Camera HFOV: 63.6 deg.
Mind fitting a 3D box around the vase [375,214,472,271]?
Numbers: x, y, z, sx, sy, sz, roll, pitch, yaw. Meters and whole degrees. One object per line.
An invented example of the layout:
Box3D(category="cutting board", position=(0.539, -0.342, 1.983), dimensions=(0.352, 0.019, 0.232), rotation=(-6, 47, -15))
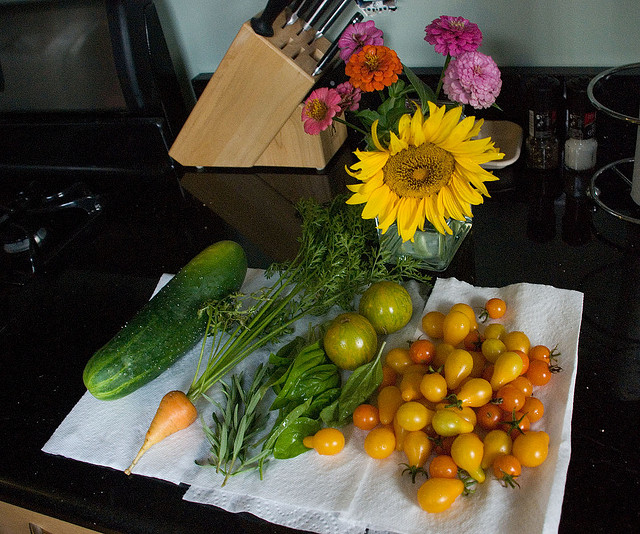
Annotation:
Box3D(category="vase", position=(0.176, -0.052, 0.916), dimensions=(0.137, 0.113, 0.123), rotation=(-13, 26, -27))

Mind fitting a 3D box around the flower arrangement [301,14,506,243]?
Box3D(category="flower arrangement", position=(0.149, -0.242, 0.828), dimensions=(0.284, 0.159, 0.357), rotation=(-26, 75, 12))

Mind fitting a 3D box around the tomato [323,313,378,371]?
Box3D(category="tomato", position=(0.045, 0.110, 0.760), dimensions=(0.071, 0.082, 0.070), rotation=(14, 50, 26))

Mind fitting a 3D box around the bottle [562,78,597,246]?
Box3D(category="bottle", position=(0.527, -0.215, 1.060), dimensions=(0.063, 0.288, 0.064), rotation=(-18, 30, 11))

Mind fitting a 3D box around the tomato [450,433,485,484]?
Box3D(category="tomato", position=(0.177, 0.224, 0.612), dimensions=(0.042, 0.052, 0.048), rotation=(10, 25, 26))

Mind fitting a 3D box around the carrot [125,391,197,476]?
Box3D(category="carrot", position=(-0.210, 0.219, 0.737), dimensions=(0.056, 0.053, 0.125), rotation=(37, 78, 24))

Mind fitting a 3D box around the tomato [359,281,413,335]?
Box3D(category="tomato", position=(0.103, 0.066, 0.813), dimensions=(0.079, 0.097, 0.090), rotation=(-10, 11, -18))

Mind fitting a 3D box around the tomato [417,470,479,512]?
Box3D(category="tomato", position=(0.150, 0.264, 0.605), dimensions=(0.070, 0.041, 0.041), rotation=(-17, 82, -8))

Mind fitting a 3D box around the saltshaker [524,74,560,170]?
Box3D(category="saltshaker", position=(0.452, -0.300, 1.048), dimensions=(0.068, 0.192, 0.067), rotation=(-34, 37, -29))

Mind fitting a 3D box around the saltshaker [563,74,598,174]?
Box3D(category="saltshaker", position=(0.523, -0.290, 1.025), dimensions=(0.057, 0.184, 0.065), rotation=(-15, 22, -8))
